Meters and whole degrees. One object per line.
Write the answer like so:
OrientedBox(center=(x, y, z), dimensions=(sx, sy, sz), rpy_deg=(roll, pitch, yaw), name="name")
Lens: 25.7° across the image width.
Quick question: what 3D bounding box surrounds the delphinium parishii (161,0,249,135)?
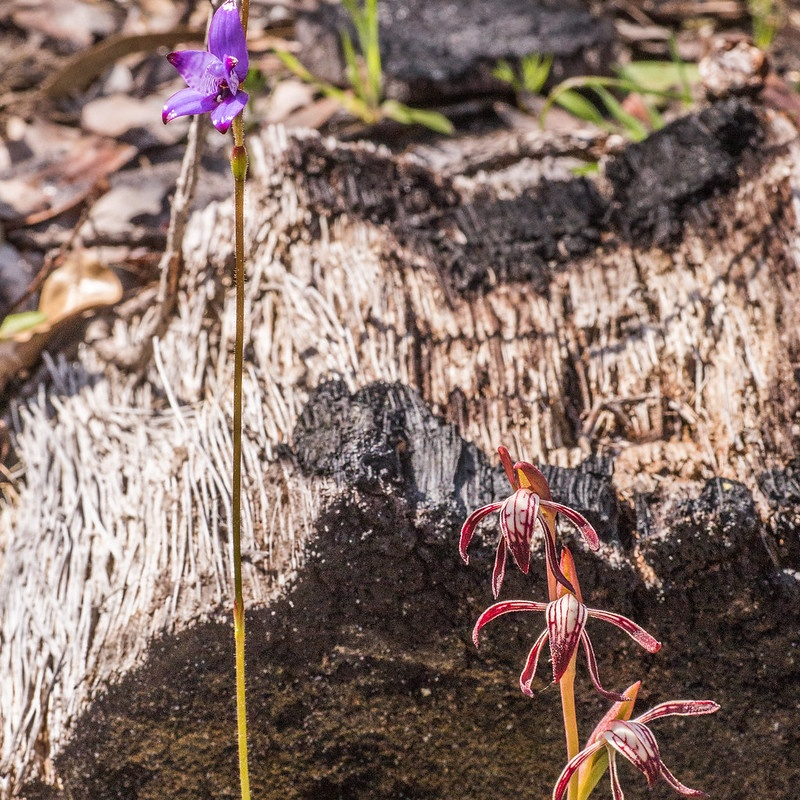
OrientedBox(center=(-0.372, -0.670, 3.447), dimensions=(0.164, 0.270, 0.098), rpy_deg=(-19, -2, 8), name="delphinium parishii")
